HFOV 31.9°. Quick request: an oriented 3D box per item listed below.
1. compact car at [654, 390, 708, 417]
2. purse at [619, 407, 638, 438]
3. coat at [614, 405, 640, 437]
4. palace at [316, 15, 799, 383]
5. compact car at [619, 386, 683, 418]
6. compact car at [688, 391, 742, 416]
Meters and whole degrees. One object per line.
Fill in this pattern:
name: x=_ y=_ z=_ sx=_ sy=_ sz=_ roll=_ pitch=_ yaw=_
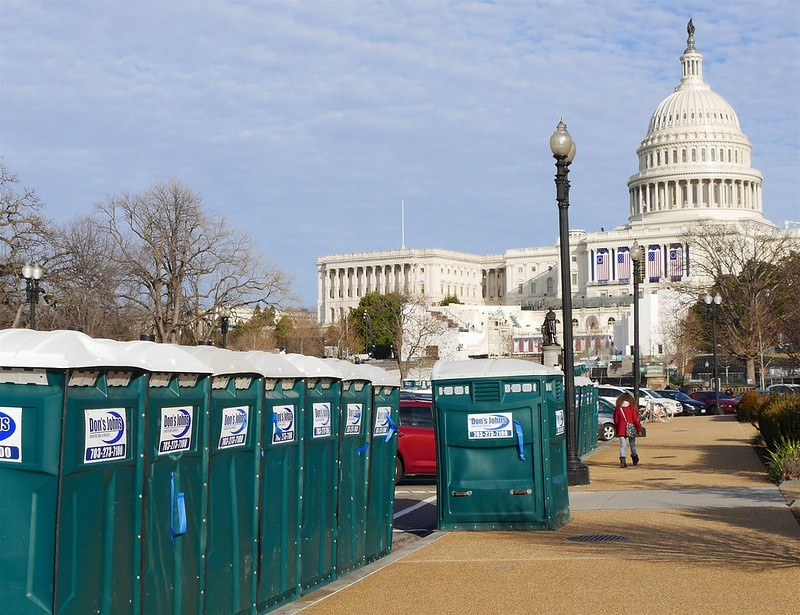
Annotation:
compact car: x=10.899 y=3.753 z=55.272 sx=0.886 sy=0.648 sz=1.921 roll=0 pitch=-4 yaw=-43
purse: x=4.610 y=2.251 z=27.801 sx=0.225 sy=0.553 sz=0.398 roll=-1 pitch=1 yaw=-42
coat: x=4.513 y=2.238 z=27.894 sx=0.690 sy=0.811 sz=0.563 roll=-1 pitch=-4 yaw=13
palace: x=17.728 y=-6.718 z=148.551 sx=43.392 sy=26.596 sz=44.084 roll=-3 pitch=-6 yaw=28
compact car: x=9.417 y=3.438 z=50.131 sx=2.092 sy=0.924 sz=1.185 roll=0 pitch=2 yaw=-12
compact car: x=13.016 y=3.797 z=56.737 sx=0.946 sy=0.663 sz=2.015 roll=1 pitch=2 yaw=27
